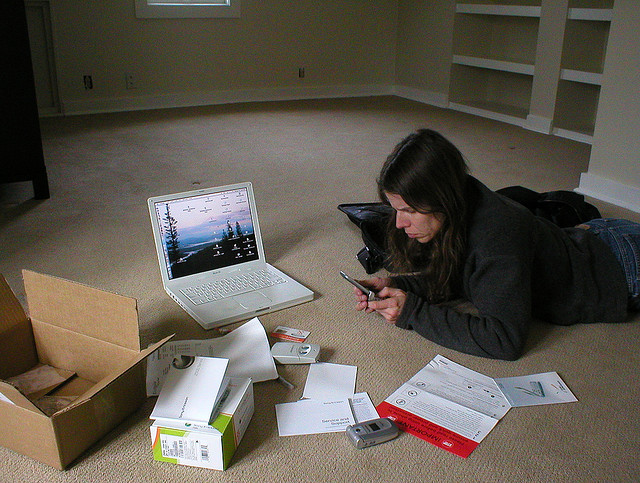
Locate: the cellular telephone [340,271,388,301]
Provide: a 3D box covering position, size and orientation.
[{"bbox_3d":[0.179,0.187,1.852,0.153,0.020,0.046,34,57,26],"label":"cellular telephone"}]

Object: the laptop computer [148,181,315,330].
[{"bbox_3d":[-0.364,0.026,1.797,0.477,0.358,0.513,-13,26,-39],"label":"laptop computer"}]

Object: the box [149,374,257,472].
[{"bbox_3d":[-0.315,0.474,1.199,0.257,0.104,0.256,-4,21,1],"label":"box"}]

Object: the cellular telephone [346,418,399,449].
[{"bbox_3d":[0.145,0.509,1.206,0.110,0.029,0.064,-8,24,-16],"label":"cellular telephone"}]

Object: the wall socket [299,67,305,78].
[{"bbox_3d":[-0.250,-2.271,6.030,0.075,0.126,0.016,-16,29,-30],"label":"wall socket"}]

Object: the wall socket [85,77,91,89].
[{"bbox_3d":[-2.606,-1.770,4.997,0.051,0.085,0.023,-1,4,-32],"label":"wall socket"}]

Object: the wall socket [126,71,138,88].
[{"bbox_3d":[-2.209,-1.884,5.194,0.176,0.235,0.024,-9,32,-26],"label":"wall socket"}]
